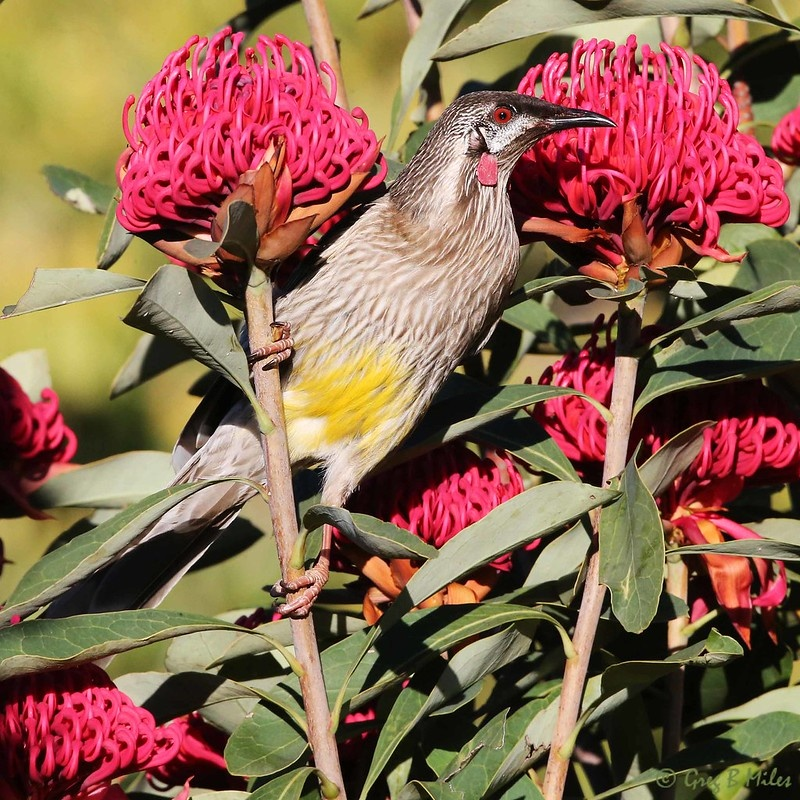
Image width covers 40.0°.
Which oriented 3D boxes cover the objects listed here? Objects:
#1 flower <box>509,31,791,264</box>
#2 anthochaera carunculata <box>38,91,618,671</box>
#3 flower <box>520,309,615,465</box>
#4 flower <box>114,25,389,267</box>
[{"bbox_3d":[0.352,-0.342,1.788,0.379,0.391,0.276,12,-69,-31],"label":"flower"},{"bbox_3d":[-0.242,-0.115,2.204,1.217,0.857,0.391,-10,6,-6],"label":"anthochaera carunculata"},{"bbox_3d":[0.304,-0.041,1.928,0.103,0.230,0.190,28,-52,-12],"label":"flower"},{"bbox_3d":[-0.202,-0.383,1.604,0.358,0.208,0.367,-1,26,15],"label":"flower"}]
